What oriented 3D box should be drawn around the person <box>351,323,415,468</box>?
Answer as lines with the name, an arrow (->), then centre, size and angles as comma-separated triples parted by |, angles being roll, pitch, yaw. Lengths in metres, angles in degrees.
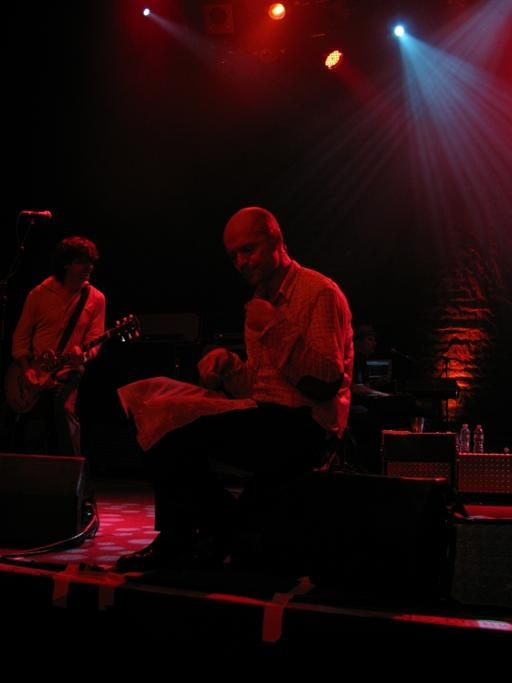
person -> 1.043, 0.443, 5.243 | 0.363, 1.032, 1.119 | 0, -1, 5

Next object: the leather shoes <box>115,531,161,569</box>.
leather shoes -> -0.324, 0.605, 1.873 | 0.144, 0.115, 0.081 | 15, -25, -29

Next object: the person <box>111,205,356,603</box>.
person -> -0.055, 0.144, 1.947 | 0.664, 1.050, 0.523 | 4, -7, -12

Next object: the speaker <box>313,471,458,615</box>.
speaker -> 0.338, 0.515, 1.712 | 0.390, 0.335, 0.301 | -6, -7, 28

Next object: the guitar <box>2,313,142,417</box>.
guitar -> -1.164, 0.137, 4.096 | 0.941, 0.332, 0.131 | -27, -12, 4
